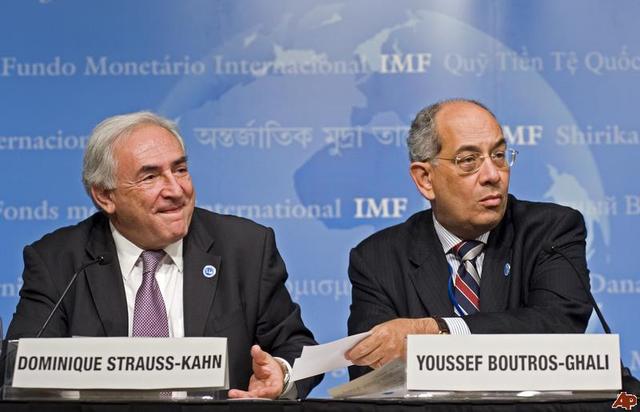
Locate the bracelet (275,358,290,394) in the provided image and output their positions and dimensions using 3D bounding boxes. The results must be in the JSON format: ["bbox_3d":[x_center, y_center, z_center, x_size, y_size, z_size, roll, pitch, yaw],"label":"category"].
[{"bbox_3d":[-0.203,0.950,5.193,0.087,0.172,0.143,5,-6,-31],"label":"bracelet"}]

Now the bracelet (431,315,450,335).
[{"bbox_3d":[0.681,0.658,5.148,0.078,0.092,0.078,2,-9,-41],"label":"bracelet"}]
